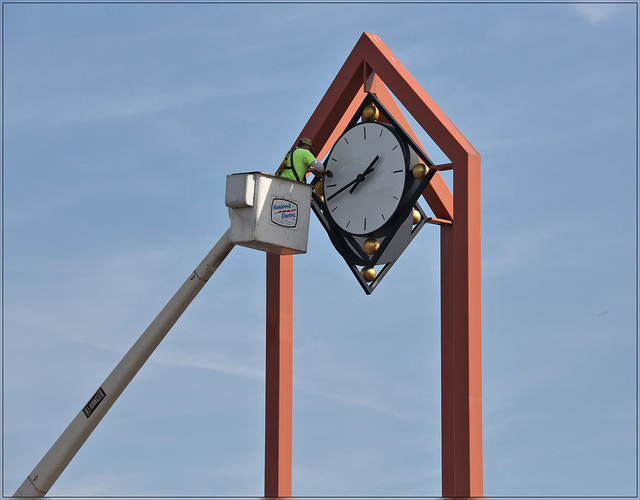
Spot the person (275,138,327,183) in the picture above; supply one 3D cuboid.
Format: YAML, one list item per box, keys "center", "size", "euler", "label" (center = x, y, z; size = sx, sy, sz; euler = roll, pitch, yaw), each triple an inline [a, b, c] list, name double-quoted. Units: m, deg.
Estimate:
- center: [-0.307, -1.510, 24.467]
  size: [0.851, 1.544, 0.561]
  euler: [8, -59, -4]
  label: "person"

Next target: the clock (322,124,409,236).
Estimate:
- center: [0.790, -1.083, 23.834]
  size: [1.951, 0.343, 2.397]
  euler: [0, -96, 37]
  label: "clock"
